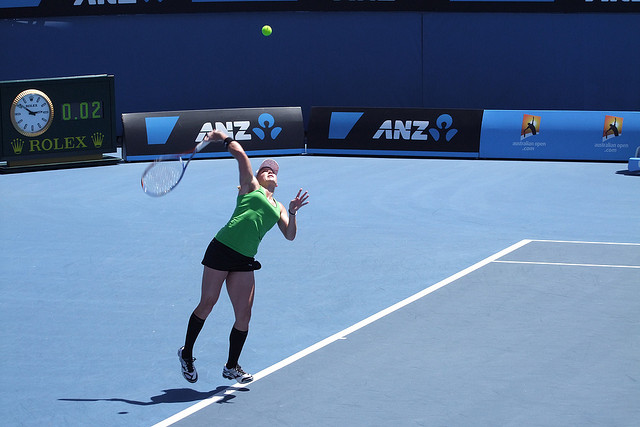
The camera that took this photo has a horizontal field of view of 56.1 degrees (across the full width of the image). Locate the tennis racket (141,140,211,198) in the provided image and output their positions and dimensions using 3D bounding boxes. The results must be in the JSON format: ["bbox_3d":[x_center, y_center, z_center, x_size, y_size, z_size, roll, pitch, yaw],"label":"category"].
[{"bbox_3d":[-1.818,-0.491,7.138,1.174,0.443,0.065,-35,2,21],"label":"tennis racket"}]

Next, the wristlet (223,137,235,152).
[{"bbox_3d":[-1.064,-0.806,6.941,0.123,0.138,0.079,2,6,-2],"label":"wristlet"}]

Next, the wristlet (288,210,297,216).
[{"bbox_3d":[-0.324,-0.011,7.029,0.071,0.063,0.016,1,26,-3],"label":"wristlet"}]
